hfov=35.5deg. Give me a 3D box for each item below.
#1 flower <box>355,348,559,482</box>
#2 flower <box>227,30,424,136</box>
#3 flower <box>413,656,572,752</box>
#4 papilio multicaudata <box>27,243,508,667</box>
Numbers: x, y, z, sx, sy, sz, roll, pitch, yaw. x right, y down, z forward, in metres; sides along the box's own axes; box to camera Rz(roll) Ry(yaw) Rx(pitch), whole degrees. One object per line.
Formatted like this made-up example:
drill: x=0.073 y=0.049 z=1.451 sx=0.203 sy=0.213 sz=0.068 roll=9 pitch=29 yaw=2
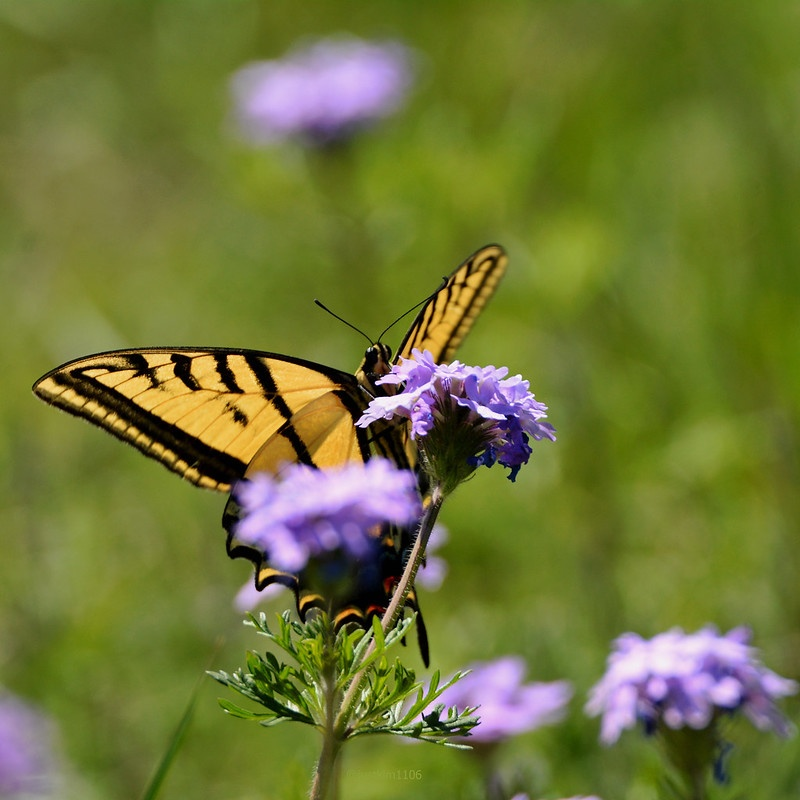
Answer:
flower: x=0.175 y=0.066 z=3.843 sx=0.598 sy=0.406 sz=0.209 roll=9 pitch=-14 yaw=4
flower: x=-0.378 y=-1.425 z=5.724 sx=0.850 sy=0.650 sz=0.237 roll=4 pitch=-14 yaw=18
flower: x=0.413 y=1.151 z=4.811 sx=0.442 sy=0.388 sz=0.527 roll=3 pitch=-17 yaw=22
papilio multicaudata: x=-0.300 y=0.059 z=4.176 sx=1.740 sy=1.454 sz=1.011 roll=-3 pitch=-2 yaw=40
